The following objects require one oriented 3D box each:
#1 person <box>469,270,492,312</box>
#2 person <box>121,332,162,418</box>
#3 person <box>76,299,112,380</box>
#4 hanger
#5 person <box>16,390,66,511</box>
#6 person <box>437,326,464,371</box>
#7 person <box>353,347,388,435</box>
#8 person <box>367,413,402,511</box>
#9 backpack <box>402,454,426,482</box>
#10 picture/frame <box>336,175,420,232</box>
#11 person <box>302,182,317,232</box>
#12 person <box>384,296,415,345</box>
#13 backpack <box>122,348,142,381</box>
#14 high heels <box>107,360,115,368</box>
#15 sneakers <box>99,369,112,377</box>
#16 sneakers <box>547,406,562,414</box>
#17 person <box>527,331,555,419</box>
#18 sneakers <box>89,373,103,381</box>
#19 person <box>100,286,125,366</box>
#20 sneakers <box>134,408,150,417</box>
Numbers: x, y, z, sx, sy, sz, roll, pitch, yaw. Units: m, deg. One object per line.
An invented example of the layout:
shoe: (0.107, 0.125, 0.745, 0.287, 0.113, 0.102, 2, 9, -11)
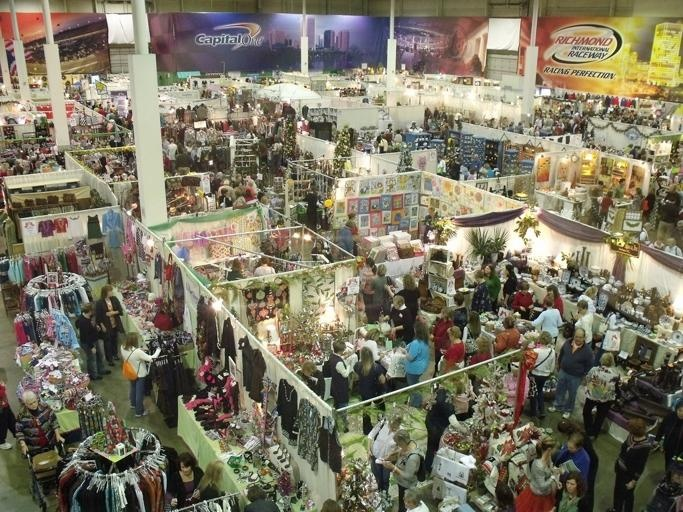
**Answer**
person: (2.718, 0.679, 9.648, 0.367, 0.789, 0.582, 6, 16, 21)
person: (-3.227, 1.853, 8.001, 0.525, 1.363, 0.525, 6, 16, 13)
person: (-4.341, 1.451, 8.757, 0.403, 1.398, 0.471, -2, 48, -13)
hanger: (-2.419, 2.168, 5.355, 0.695, 0.497, 0.744, 2, 13, -9)
person: (-3.932, 2.482, 6.563, 0.498, 1.509, 0.716, -12, 19, -39)
person: (1.713, 1.468, 7.679, 0.303, 0.955, 0.503, 1, 15, 2)
person: (0.421, 1.964, 7.357, 0.423, 1.405, 0.419, 2, 17, 17)
person: (0.506, 2.511, 6.167, 0.418, 1.304, 0.368, 11, 20, 17)
backpack: (0.826, 2.446, 5.794, 0.180, 0.386, 0.245, -11, 22, -10)
picture/frame: (1.021, -1.383, 13.536, 2.577, 1.680, 0.227, -7, 16, -24)
person: (-0.894, -1.421, 14.927, 0.394, 1.236, 0.384, 3, 15, 9)
person: (1.029, 1.139, 8.697, 0.462, 1.240, 0.400, 14, 28, 37)
backpack: (-3.315, 1.740, 7.816, 0.177, 0.594, 0.260, -13, 20, -42)
high heels: (-4.277, 1.982, 9.302, 0.059, 0.075, 0.180, -16, 36, -37)
sneakers: (-4.277, 2.114, 9.050, 0.213, 0.099, 0.079, -15, 29, -28)
sneakers: (3.468, 2.495, 8.122, 0.178, 0.094, 0.075, 0, 20, -2)
person: (3.077, 1.871, 7.705, 0.325, 1.441, 0.494, 7, 16, 25)
sneakers: (-4.375, 2.155, 8.891, 0.222, 0.166, 0.088, 2, 37, -12)
person: (-4.193, 1.249, 9.155, 0.395, 1.473, 0.476, 19, 27, 31)
sneakers: (-3.221, 2.520, 8.079, 0.077, 0.103, 0.221, 16, 23, 39)
